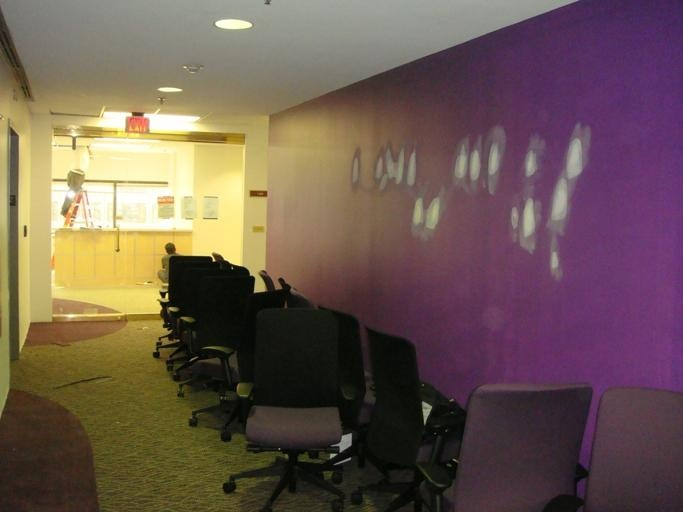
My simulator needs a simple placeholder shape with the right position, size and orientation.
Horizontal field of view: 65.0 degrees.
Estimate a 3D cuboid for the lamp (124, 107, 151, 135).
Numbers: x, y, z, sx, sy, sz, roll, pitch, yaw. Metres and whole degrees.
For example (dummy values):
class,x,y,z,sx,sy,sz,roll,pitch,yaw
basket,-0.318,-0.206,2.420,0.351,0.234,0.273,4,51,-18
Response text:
class,x,y,z,sx,sy,sz,roll,pitch,yaw
lamp,-3.153,-2.080,8.328,0.378,0.382,0.384,0,10,-11
